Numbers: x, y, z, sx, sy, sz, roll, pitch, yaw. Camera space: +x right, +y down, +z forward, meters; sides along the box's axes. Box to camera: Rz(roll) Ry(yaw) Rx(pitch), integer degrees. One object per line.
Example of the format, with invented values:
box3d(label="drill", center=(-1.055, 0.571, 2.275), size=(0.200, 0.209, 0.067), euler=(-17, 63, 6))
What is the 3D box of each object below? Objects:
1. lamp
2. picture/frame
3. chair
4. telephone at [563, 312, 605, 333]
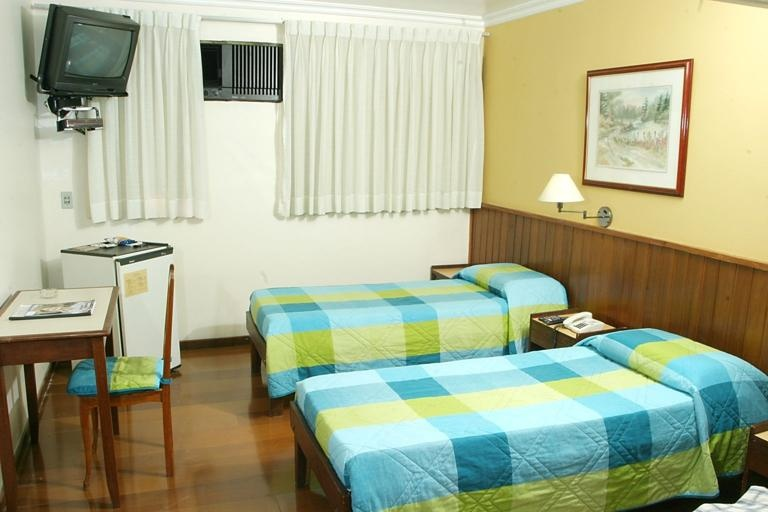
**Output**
box3d(label="lamp", center=(1.684, -0.478, 4.892), size=(0.639, 0.490, 0.390), euler=(0, 11, -4))
box3d(label="picture/frame", center=(2.091, -1.056, 4.452), size=(0.088, 1.149, 1.136), euler=(-5, 12, -29))
box3d(label="chair", center=(-1.843, 0.817, 3.952), size=(0.748, 1.407, 0.672), euler=(-1, 3, -14))
box3d(label="telephone", center=(1.650, 0.555, 4.558), size=(0.181, 0.085, 0.235), euler=(-2, 6, -5))
